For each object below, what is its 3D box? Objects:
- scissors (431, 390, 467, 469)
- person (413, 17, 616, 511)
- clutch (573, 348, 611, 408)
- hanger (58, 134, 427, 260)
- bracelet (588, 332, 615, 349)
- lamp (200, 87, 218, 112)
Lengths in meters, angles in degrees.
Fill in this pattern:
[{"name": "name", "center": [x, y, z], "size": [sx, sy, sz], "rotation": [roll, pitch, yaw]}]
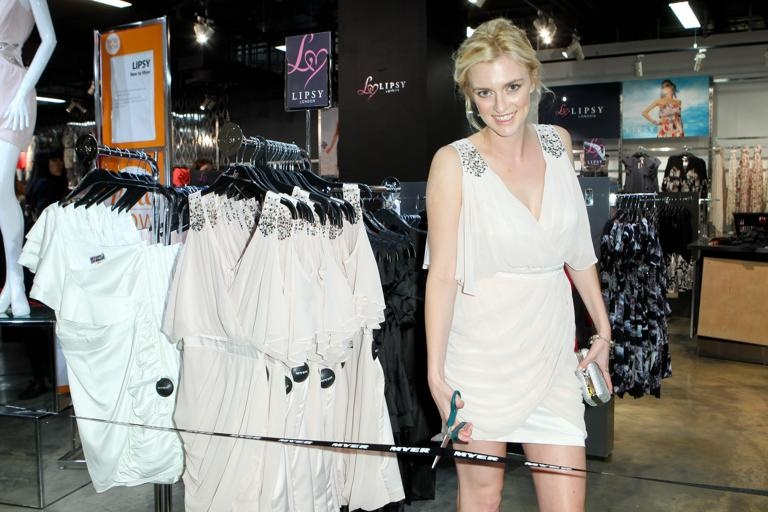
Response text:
[{"name": "scissors", "center": [0.249, 0.621, 2.287], "size": [0.111, 0.217, 0.076], "rotation": [-2, 8, -23]}, {"name": "person", "center": [0.558, 0.078, 2.431], "size": [0.781, 2.026, 0.493], "rotation": [1, 7, 4]}, {"name": "clutch", "center": [0.856, 0.489, 2.463], "size": [0.061, 0.217, 0.161], "rotation": [-20, -46, 25]}, {"name": "hanger", "center": [-0.638, -0.308, 3.170], "size": [0.910, 0.640, 1.305], "rotation": [4, -1, 43]}, {"name": "bracelet", "center": [0.929, 0.353, 2.528], "size": [0.105, 0.064, 0.081], "rotation": [-9, 16, -39]}, {"name": "lamp", "center": [-3.703, -3.234, 12.198], "size": [0.265, 0.273, 0.485], "rotation": [16, -40, -17]}]
